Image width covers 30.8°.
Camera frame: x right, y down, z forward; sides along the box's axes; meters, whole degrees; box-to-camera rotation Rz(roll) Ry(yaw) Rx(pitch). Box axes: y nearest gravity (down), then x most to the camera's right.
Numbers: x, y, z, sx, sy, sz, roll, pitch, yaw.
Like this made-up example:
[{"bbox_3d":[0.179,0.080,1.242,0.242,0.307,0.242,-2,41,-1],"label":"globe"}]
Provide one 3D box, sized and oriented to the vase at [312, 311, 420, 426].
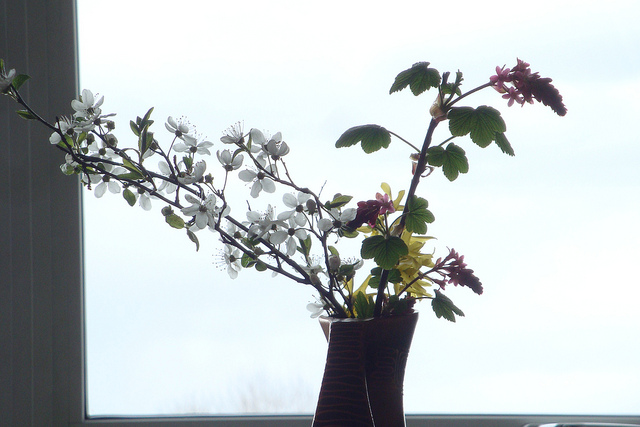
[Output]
[{"bbox_3d":[0.150,0.498,3.633,0.310,0.467,0.325,-5,-19,27],"label":"vase"}]
